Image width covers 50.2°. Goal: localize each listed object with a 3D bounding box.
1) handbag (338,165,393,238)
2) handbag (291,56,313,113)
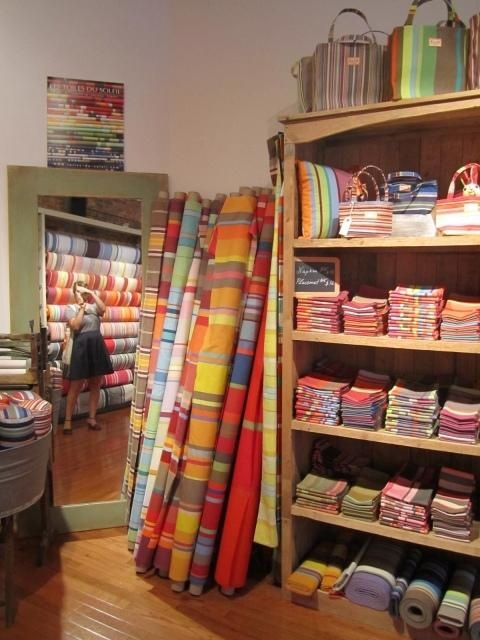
[{"bbox_3d":[0.483,-0.446,1.919,0.197,0.282,0.130,4,6,12],"label":"handbag"},{"bbox_3d":[0.263,-0.945,2.064,0.116,0.204,0.101,-19,30,-17],"label":"handbag"}]
